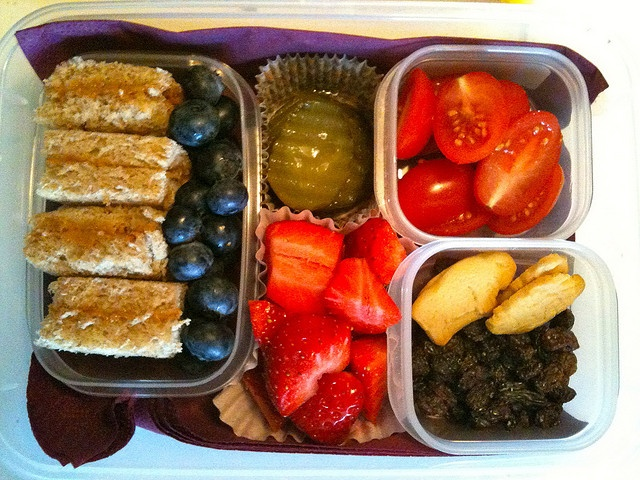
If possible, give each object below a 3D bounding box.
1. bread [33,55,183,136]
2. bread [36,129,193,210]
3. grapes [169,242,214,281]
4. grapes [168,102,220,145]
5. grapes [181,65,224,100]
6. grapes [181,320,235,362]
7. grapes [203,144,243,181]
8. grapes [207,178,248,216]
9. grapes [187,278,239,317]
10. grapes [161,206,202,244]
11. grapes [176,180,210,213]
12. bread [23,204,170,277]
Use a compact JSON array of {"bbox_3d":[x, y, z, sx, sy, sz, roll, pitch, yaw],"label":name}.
[{"bbox_3d":[-0.655,-0.448,1.943,0.379,0.129,0.227,4,80,0],"label":"bread"},{"bbox_3d":[-0.622,-0.224,1.850,0.420,0.120,0.212,3,83,1],"label":"bread"},{"bbox_3d":[-0.397,0.065,1.914,0.129,0.115,0.108,7,25,14],"label":"grapes"},{"bbox_3d":[-0.387,-0.361,1.963,0.181,0.125,0.144,-22,32,-37],"label":"grapes"},{"bbox_3d":[-0.367,-0.487,1.942,0.112,0.070,0.122,-23,76,-16],"label":"grapes"},{"bbox_3d":[-0.356,0.304,1.897,0.160,0.093,0.111,5,65,3],"label":"grapes"},{"bbox_3d":[-0.307,-0.243,1.917,0.118,0.115,0.129,2,93,11],"label":"grapes"},{"bbox_3d":[-0.285,-0.130,1.934,0.109,0.112,0.101,19,29,35],"label":"grapes"},{"bbox_3d":[-0.340,0.145,1.961,0.181,0.111,0.153,-6,21,-13],"label":"grapes"},{"bbox_3d":[-0.421,-0.044,1.920,0.116,0.117,0.109,10,97,10],"label":"grapes"},{"bbox_3d":[-0.395,-0.134,1.912,0.089,0.057,0.099,-2,65,-5],"label":"grapes"},{"bbox_3d":[-0.688,0.007,1.946,0.442,0.215,0.268,-5,37,-1],"label":"bread"}]
